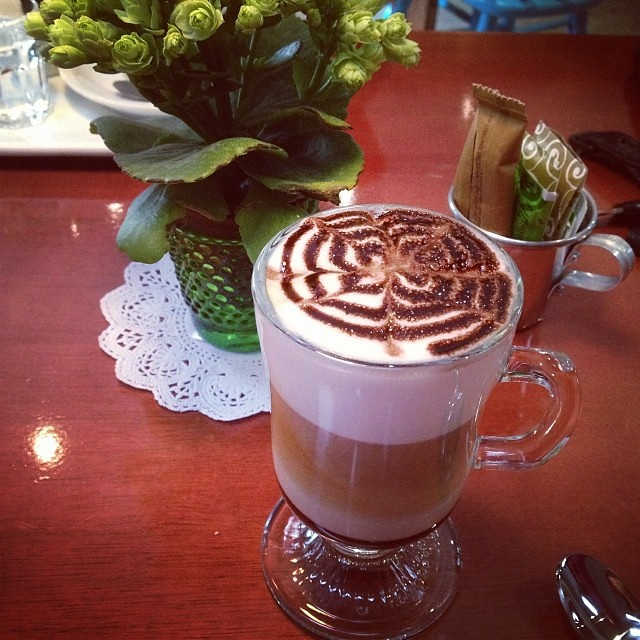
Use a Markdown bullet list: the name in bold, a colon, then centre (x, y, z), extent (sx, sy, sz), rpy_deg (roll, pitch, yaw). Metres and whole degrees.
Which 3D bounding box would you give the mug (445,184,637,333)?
- **mug**: centre (0.293, -0.108, 1.006), extent (0.278, 0.172, 0.183), rpy_deg (26, 50, 21)
